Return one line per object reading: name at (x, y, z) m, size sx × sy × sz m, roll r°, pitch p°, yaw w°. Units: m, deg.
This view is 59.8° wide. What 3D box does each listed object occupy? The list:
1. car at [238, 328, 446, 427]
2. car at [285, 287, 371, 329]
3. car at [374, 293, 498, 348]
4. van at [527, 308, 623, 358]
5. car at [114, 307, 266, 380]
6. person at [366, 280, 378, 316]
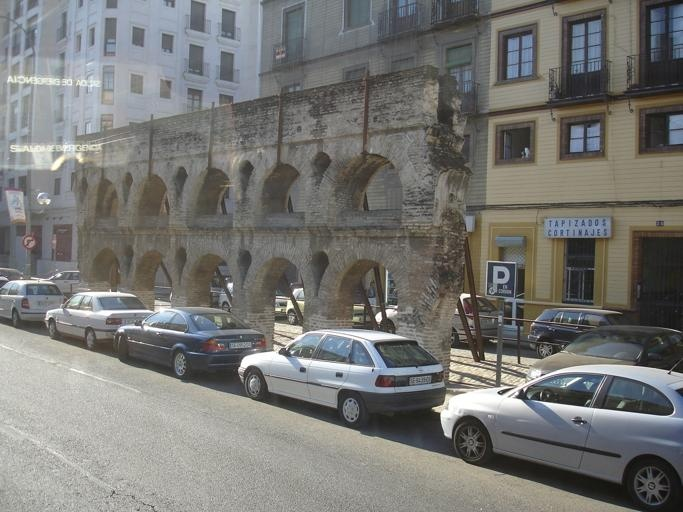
car at (-0.014, 2.487, 13.158) m, size 3.884 × 1.544 × 1.829 m, roll 3°, pitch 0°, yaw 41°
car at (-0.758, 2.401, 26.145) m, size 3.029 × 1.716 × 1.817 m, roll -5°, pitch -7°, yaw 41°
car at (3.808, 2.429, 22.492) m, size 3.889 × 1.840 × 2.249 m, roll 2°, pitch 3°, yaw 31°
van at (7.385, 2.372, 19.273) m, size 1.456 × 1.358 × 2.912 m, roll 3°, pitch -13°, yaw -45°
car at (-4.285, 2.243, 16.471) m, size 3.656 × 1.329 × 1.843 m, roll 5°, pitch 1°, yaw 41°
person at (1.509, 2.024, 29.627) m, size 0.333 × 1.116 × 1.082 m, roll -8°, pitch 12°, yaw 3°
